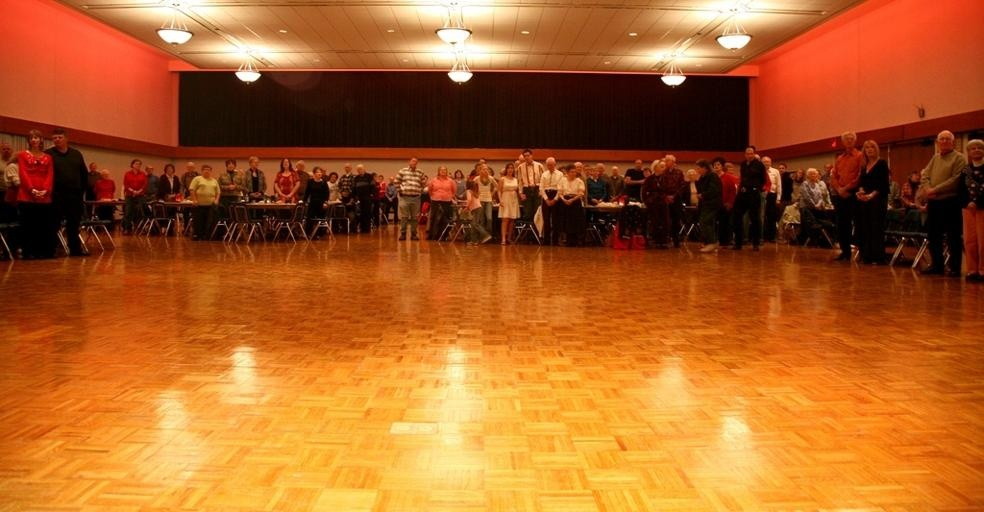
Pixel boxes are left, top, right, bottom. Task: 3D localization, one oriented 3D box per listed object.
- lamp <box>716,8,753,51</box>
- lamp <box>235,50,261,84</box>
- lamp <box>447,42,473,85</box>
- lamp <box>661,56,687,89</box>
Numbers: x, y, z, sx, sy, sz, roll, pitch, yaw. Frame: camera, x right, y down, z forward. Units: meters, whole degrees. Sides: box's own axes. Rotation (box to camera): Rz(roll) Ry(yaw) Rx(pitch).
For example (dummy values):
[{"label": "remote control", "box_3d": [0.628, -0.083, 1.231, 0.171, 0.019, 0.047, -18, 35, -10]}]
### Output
[{"label": "lamp", "box_3d": [6.657, -6.141, 17.848, 0.712, 0.998, 1.921, 2, 6, 21]}, {"label": "lamp", "box_3d": [-7.799, -6.088, 20.948, 0.808, 1.193, 0.734, 10, 33, -12]}, {"label": "lamp", "box_3d": [-1.056, -6.460, 21.848, 1.142, 0.958, 1.045, 0, 16, 0]}, {"label": "lamp", "box_3d": [6.251, -6.578, 22.862, 0.786, 0.918, 0.732, -2, 8, -36]}]
